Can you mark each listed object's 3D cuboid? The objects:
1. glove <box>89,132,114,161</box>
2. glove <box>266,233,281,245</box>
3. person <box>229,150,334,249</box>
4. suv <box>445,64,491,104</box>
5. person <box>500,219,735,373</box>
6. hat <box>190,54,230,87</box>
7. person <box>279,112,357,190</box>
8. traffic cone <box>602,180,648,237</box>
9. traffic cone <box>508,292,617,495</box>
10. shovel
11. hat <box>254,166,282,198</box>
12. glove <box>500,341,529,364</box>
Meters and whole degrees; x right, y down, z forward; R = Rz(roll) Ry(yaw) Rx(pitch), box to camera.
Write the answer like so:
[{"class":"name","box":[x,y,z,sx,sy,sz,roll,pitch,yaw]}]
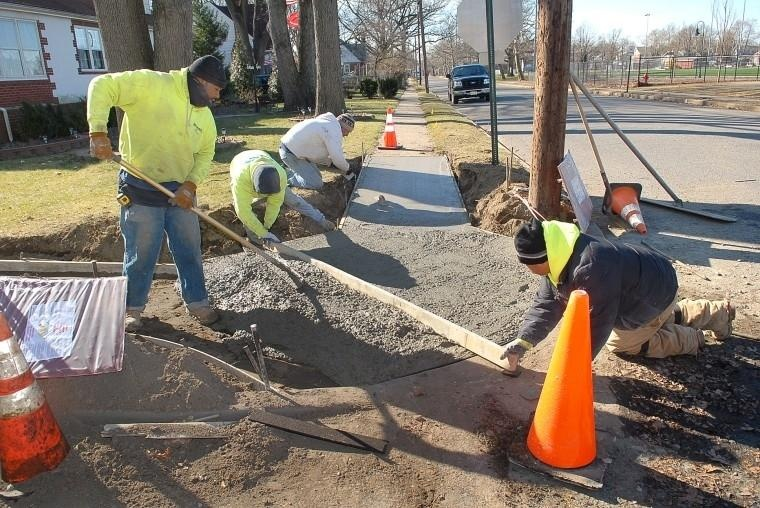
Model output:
[{"class":"glove","box":[-2.469,-0.935,4.905,0.163,0.239,0.174,-12,22,-24]},{"class":"glove","box":[-1.385,-0.204,7.005,0.158,0.115,0.374,-8,20,-16]},{"class":"person","box":[-1.527,-0.753,7.335,0.932,1.097,1.287,-2,20,3]},{"class":"suv","box":[4.345,-7.954,27.756,2.053,1.452,3.473,-3,3,4]},{"class":"person","box":[2.039,0.346,4.750,1.991,1.306,0.869,-4,13,-5]},{"class":"hat","box":[-1.598,-1.681,5.268,0.335,0.206,0.327,12,17,-46]},{"class":"person","box":[-1.074,-1.695,9.180,1.268,1.158,0.952,2,17,-14]},{"class":"traffic cone","box":[3.165,-0.639,7.289,0.691,0.580,0.865,2,28,11]},{"class":"traffic cone","box":[1.403,0.905,4.262,1.010,1.199,0.876,-5,13,-35]},{"class":"shovel","box":[2.944,-1.484,7.696,0.502,2.139,0.499,-1,53,38]},{"class":"hat","box":[-1.419,-0.914,7.022,0.369,0.362,0.235,-13,23,-26]},{"class":"glove","box":[1.135,0.842,4.729,0.053,0.197,0.220,34,-14,-34]}]
